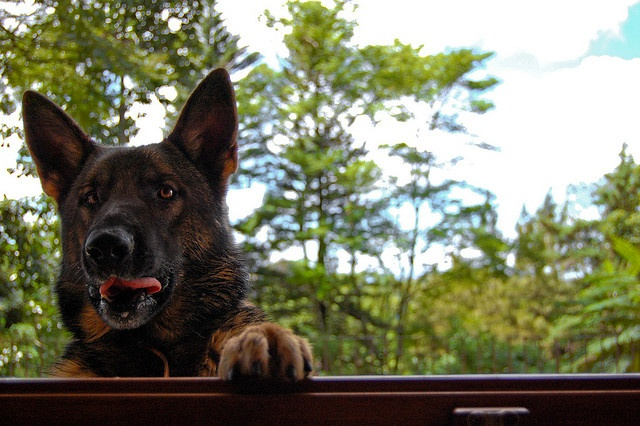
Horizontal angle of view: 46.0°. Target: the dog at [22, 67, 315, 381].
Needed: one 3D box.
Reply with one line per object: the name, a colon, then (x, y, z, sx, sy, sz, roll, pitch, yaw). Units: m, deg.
dog: (-0.961, 0.034, 4.210, 1.219, 1.713, 0.608, -2, 4, -16)
